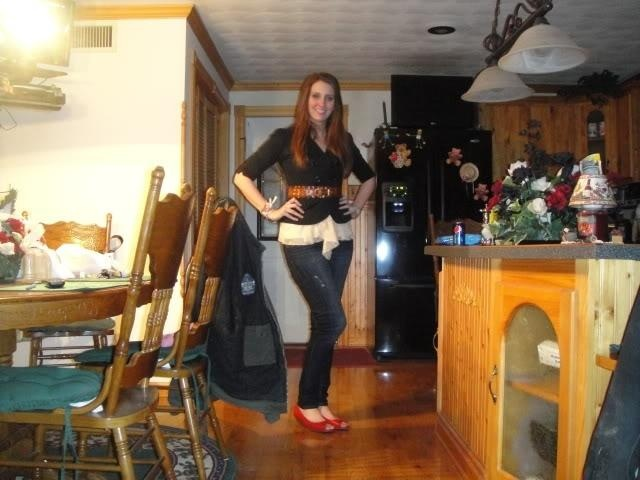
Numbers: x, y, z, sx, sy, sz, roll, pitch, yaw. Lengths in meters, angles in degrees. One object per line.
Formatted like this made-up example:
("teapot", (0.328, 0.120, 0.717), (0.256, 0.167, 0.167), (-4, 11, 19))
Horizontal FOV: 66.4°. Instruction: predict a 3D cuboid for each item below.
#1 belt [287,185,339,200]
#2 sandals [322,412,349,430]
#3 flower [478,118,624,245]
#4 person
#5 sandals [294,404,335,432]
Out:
("belt", (-0.031, -0.260, 2.663), (0.272, 0.078, 0.101), (-1, 0, 0))
("sandals", (0.091, 1.019, 2.741), (0.140, 0.044, 0.056), (-1, -6, 29))
("flower", (0.992, -0.170, 2.021), (0.434, 0.582, 0.563), (-3, 4, -9))
("person", (-0.061, 0.079, 2.751), (0.764, 1.970, 0.369), (-1, -1, 0))
("sandals", (-0.037, 1.007, 2.783), (0.238, 0.103, 0.090), (5, -5, 27))
